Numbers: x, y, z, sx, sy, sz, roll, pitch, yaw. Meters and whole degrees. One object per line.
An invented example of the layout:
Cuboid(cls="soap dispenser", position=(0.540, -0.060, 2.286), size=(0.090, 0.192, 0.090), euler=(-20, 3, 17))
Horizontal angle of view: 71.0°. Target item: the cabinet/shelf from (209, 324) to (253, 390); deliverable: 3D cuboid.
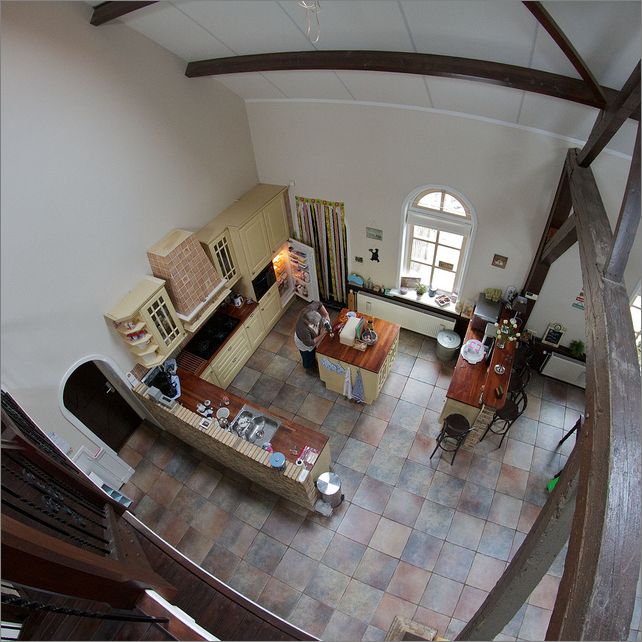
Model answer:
Cuboid(cls="cabinet/shelf", position=(-1.801, 0.700, 8.786), size=(0.428, 0.780, 0.840), euler=(20, 55, 20))

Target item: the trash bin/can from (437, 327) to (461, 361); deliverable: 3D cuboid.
Cuboid(cls="trash bin/can", position=(2.523, 0.472, 9.028), size=(0.492, 0.527, 0.544), euler=(-8, 49, -3))

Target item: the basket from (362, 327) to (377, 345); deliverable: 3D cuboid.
Cuboid(cls="basket", position=(0.863, 0.290, 8.063), size=(0.286, 0.163, 0.270), euler=(15, 40, 20))

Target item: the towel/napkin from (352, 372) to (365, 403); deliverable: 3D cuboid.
Cuboid(cls="towel/napkin", position=(0.666, 1.164, 8.130), size=(0.220, 0.897, 0.202), euler=(7, 34, 12))

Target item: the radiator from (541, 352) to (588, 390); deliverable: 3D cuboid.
Cuboid(cls="radiator", position=(4.416, 0.884, 8.111), size=(1.005, 0.549, 0.144), euler=(27, 57, 28))

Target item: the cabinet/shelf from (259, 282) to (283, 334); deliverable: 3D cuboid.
Cuboid(cls="cabinet/shelf", position=(-1.116, -0.271, 9.738), size=(0.490, 0.825, 0.594), euler=(12, 47, 17))

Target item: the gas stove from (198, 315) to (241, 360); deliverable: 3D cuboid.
Cuboid(cls="gas stove", position=(-2.056, 0.447, 8.902), size=(0.574, 0.247, 1.077), euler=(19, 57, 17))

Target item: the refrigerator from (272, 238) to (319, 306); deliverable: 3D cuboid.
Cuboid(cls="refrigerator", position=(-0.565, -1.147, 9.960), size=(0.920, 1.669, 0.472), euler=(16, 48, 24))

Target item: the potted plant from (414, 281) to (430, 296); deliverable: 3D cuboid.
Cuboid(cls="potted plant", position=(2.066, -0.653, 9.197), size=(0.208, 0.236, 0.177), euler=(-4, 35, -4))

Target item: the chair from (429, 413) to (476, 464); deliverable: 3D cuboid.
Cuboid(cls="chair", position=(2.210, 1.903, 7.481), size=(0.584, 0.960, 0.588), euler=(16, 38, 24))

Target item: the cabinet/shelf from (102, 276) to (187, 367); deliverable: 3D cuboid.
Cuboid(cls="cabinet/shelf", position=(-2.840, -0.040, 7.109), size=(0.323, 1.087, 0.867), euler=(20, 52, 17))

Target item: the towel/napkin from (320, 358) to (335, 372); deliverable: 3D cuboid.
Cuboid(cls="towel/napkin", position=(0.129, 0.770, 8.104), size=(0.270, 0.305, 0.022), euler=(21, 60, 31))

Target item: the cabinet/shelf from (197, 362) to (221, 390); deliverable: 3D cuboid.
Cuboid(cls="cabinet/shelf", position=(-2.054, 0.980, 8.141), size=(0.214, 0.476, 0.266), euler=(17, 60, 17))

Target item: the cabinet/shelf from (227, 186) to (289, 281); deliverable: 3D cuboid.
Cuboid(cls="cabinet/shelf", position=(-1.272, -1.769, 8.769), size=(0.485, 1.090, 1.452), euler=(11, 47, 20))

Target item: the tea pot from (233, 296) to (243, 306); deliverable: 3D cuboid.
Cuboid(cls="tea pot", position=(-1.675, -0.396, 9.095), size=(0.187, 0.230, 0.122), euler=(2, 16, 3))

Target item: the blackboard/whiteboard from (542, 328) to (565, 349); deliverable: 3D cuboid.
Cuboid(cls="blackboard/whiteboard", position=(4.221, 0.304, 8.120), size=(0.260, 0.409, 0.040), euler=(22, 49, 22))

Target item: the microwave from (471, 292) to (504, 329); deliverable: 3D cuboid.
Cuboid(cls="microwave", position=(3.054, -0.111, 8.277), size=(0.453, 0.481, 0.547), euler=(20, 41, 27))

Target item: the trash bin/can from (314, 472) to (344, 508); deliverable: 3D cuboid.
Cuboid(cls="trash bin/can", position=(0.105, 2.648, 7.007), size=(0.319, 0.537, 0.486), euler=(-31, 36, -24))

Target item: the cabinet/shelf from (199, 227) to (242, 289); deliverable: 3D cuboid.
Cuboid(cls="cabinet/shelf", position=(-1.901, -1.205, 8.350), size=(0.424, 1.087, 0.725), euler=(19, 40, 28))

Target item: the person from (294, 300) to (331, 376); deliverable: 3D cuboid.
Cuboid(cls="person", position=(-0.146, 0.390, 8.520), size=(0.624, 1.780, 0.749), euler=(17, 38, 25))

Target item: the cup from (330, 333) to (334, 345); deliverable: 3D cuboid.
Cuboid(cls="cup", position=(0.207, 0.275, 8.149), size=(0.089, 0.103, 0.110), euler=(-3, 36, -1))
